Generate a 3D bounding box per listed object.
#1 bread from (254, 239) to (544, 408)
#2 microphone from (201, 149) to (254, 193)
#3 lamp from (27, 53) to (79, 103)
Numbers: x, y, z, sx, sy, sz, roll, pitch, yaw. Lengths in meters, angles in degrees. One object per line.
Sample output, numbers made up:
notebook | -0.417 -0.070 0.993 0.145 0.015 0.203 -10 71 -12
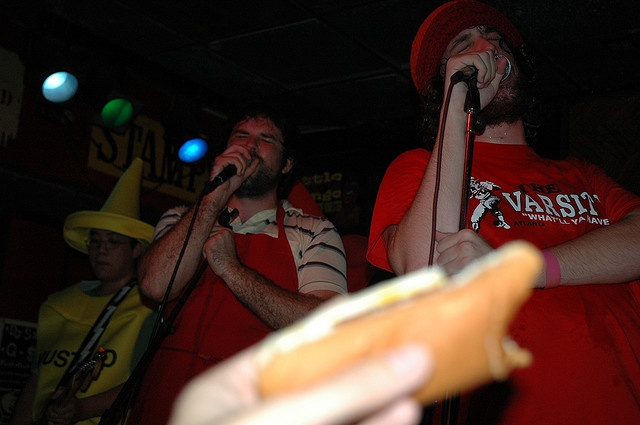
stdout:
bread | 0.080 0.129 0.589 0.240 0.076 0.227 -23 -47 -4
microphone | -0.512 -0.258 2.940 0.080 0.547 0.079 43 -40 6
lamp | -2.785 -1.379 5.050 0.528 0.373 0.214 -9 -2 0
